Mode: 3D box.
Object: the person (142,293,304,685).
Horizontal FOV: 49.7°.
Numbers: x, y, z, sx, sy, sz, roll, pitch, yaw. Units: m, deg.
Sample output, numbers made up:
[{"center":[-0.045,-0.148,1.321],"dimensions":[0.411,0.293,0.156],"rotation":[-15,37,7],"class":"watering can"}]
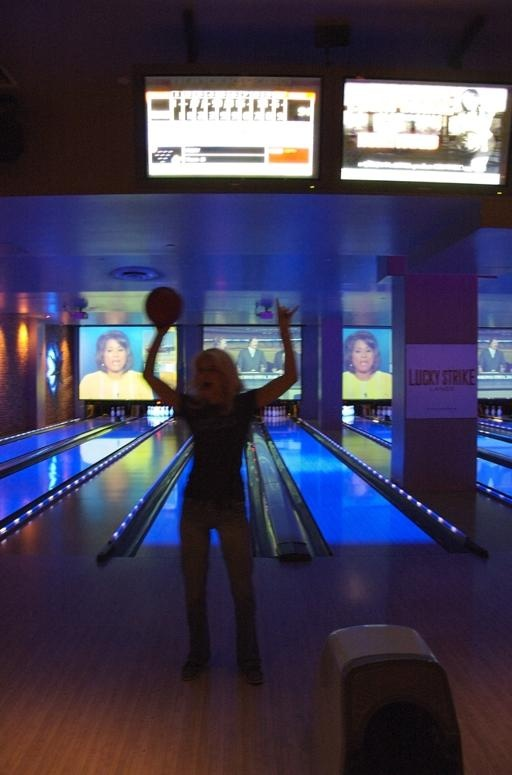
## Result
[{"center":[-0.140,0.391,2.029],"dimensions":[0.551,1.363,0.306],"rotation":[0,5,-1],"class":"person"}]
